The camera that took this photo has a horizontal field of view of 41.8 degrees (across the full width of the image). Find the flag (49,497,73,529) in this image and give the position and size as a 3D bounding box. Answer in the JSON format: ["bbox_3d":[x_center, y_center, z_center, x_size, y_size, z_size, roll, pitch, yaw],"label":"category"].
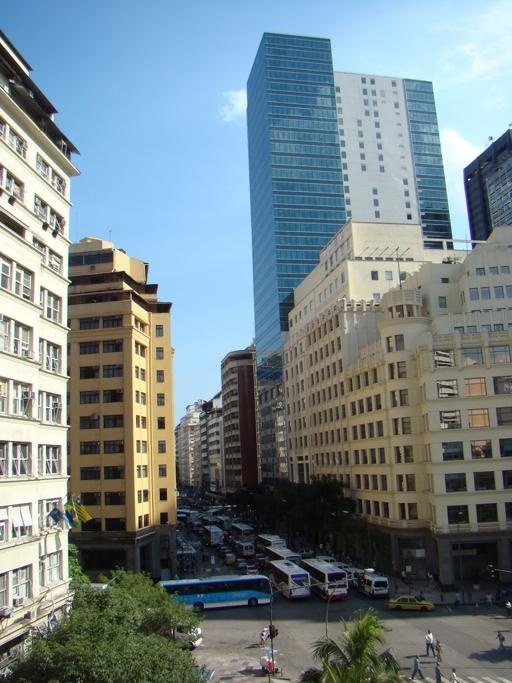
[{"bbox_3d":[-10.876,9.523,36.952,0.452,1.341,1.871,-10,-32,12],"label":"flag"}]

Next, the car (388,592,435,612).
[{"bbox_3d":[12.270,20.976,53.690,2.672,0.760,1.511,-4,-6,11],"label":"car"}]

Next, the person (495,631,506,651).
[{"bbox_3d":[15.247,18.622,41.997,0.454,0.911,2.337,-10,-14,15],"label":"person"}]
